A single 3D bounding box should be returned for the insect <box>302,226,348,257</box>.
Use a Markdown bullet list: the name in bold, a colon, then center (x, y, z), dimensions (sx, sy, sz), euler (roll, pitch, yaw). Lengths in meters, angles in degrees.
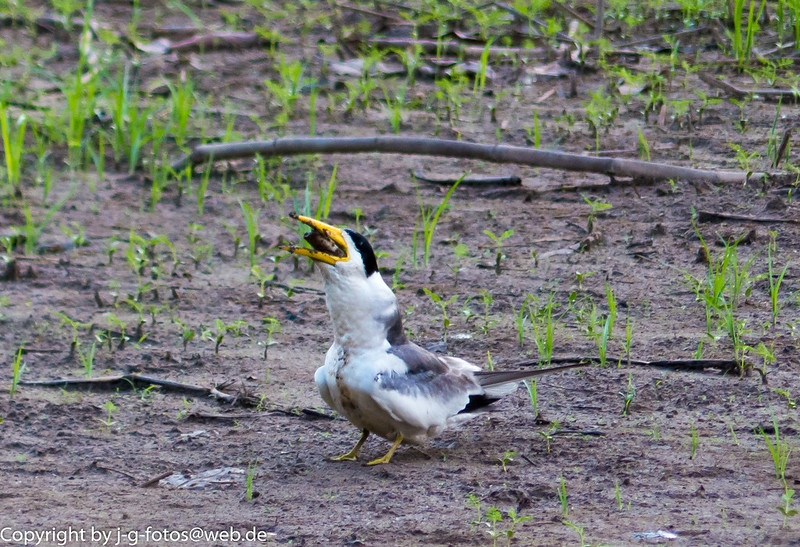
- **insect**: center (-0.439, -0.181, 6.224), dimensions (0.238, 0.136, 0.053), euler (27, 45, 9)
